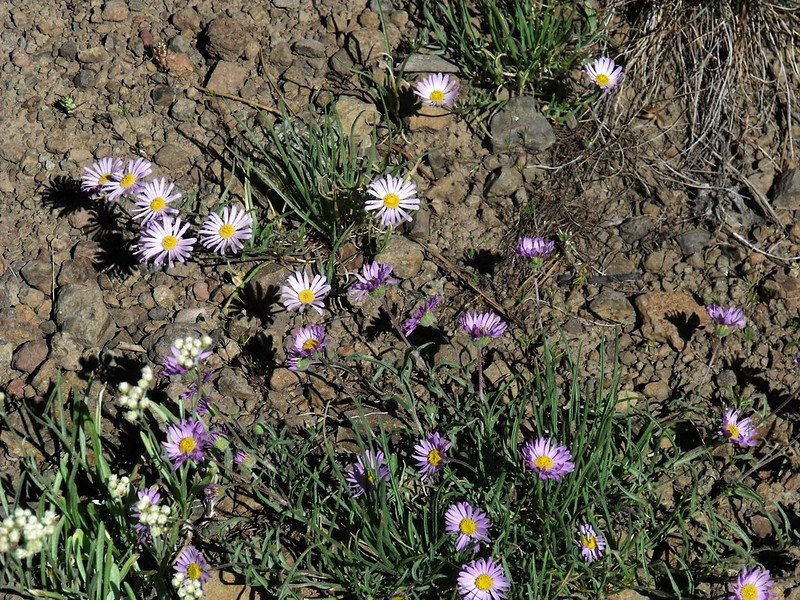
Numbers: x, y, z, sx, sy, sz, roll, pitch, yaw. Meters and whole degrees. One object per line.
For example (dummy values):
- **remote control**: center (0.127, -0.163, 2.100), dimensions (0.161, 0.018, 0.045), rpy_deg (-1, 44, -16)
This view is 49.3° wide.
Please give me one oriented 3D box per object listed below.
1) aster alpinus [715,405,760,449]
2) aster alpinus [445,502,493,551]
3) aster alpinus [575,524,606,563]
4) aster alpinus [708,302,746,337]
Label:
- **aster alpinus**: center (1.742, 0.670, 4.478), dimensions (0.189, 0.078, 0.221), rpy_deg (12, 61, -33)
- **aster alpinus**: center (0.340, 1.101, 4.254), dimensions (0.256, 0.271, 0.114), rpy_deg (13, 108, 39)
- **aster alpinus**: center (0.955, 1.214, 4.320), dimensions (0.131, 0.130, 0.167), rpy_deg (-7, 61, 7)
- **aster alpinus**: center (1.716, 0.091, 4.601), dimensions (0.149, 0.118, 0.176), rpy_deg (-22, 61, 0)
